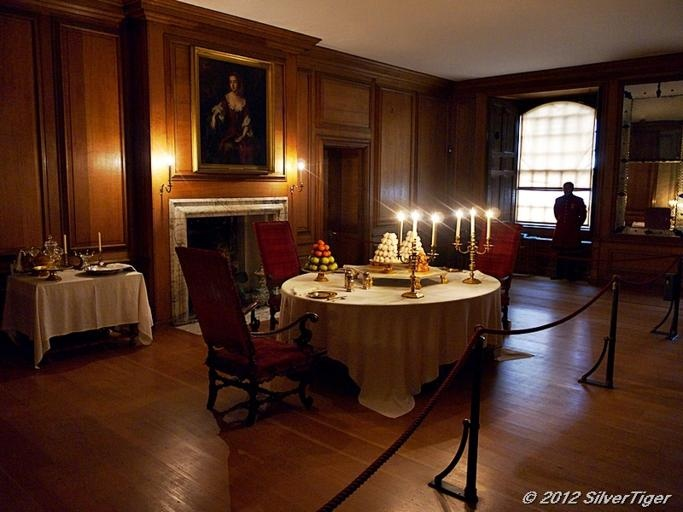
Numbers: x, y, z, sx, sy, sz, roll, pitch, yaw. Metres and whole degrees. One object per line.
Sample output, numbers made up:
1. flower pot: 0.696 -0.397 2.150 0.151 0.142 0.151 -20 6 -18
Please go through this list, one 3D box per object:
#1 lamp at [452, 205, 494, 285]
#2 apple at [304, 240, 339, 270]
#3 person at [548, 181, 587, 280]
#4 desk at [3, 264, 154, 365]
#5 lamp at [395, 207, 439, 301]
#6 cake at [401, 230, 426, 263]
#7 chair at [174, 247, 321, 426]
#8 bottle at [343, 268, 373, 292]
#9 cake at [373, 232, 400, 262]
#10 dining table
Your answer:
1. lamp: 1.316 -0.091 5.114 0.424 0.726 0.172 3 -2 -8
2. apple: -0.184 -0.005 5.176 0.295 0.265 0.302 1 1 4
3. person: 4.218 -0.455 9.465 0.535 1.790 0.488 6 12 26
4. desk: -2.908 0.314 5.392 1.257 0.725 0.954 -7 16 -43
5. lamp: 0.650 0.060 4.600 0.177 0.635 0.177 -1 -4 43
6. cake: 0.743 -0.089 4.958 0.279 0.318 0.271 -1 5 -5
7. chair: -0.771 0.591 4.182 0.884 1.349 0.868 -6 8 -39
8. bottle: 0.179 0.212 4.929 0.115 0.202 0.513 4 8 23
9. cake: 0.430 -0.092 5.077 0.269 0.282 0.259 1 4 -5
10. dining table: 0.524 0.661 4.437 1.259 0.500 1.322 -7 13 -26
